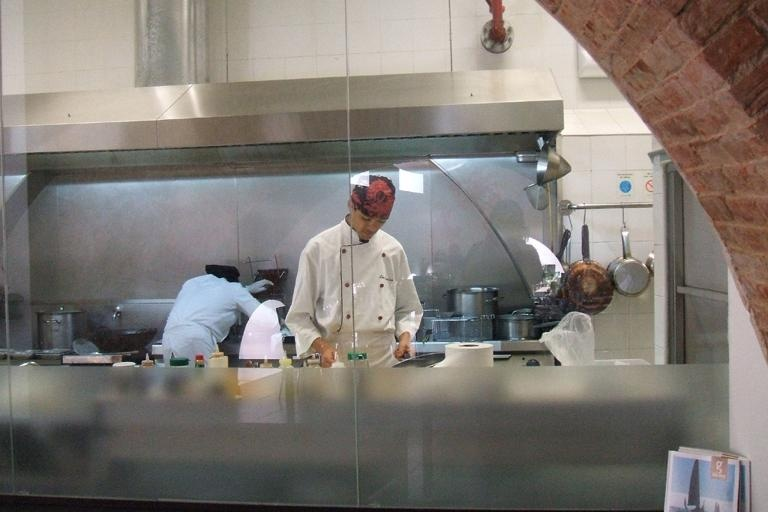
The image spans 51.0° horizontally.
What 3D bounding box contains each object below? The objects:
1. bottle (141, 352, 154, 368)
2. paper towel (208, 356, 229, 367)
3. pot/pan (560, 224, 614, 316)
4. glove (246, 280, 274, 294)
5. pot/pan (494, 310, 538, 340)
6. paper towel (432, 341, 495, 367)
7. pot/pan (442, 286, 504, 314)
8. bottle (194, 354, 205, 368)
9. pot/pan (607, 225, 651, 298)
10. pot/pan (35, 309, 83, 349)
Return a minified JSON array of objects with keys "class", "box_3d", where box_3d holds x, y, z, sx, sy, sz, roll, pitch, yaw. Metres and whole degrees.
[{"class":"bottle","box_3d":[-1.024,0.446,3.472,0.065,0.071,0.011,1,15,1]},{"class":"paper towel","box_3d":[-0.719,0.458,3.471,0.090,0.081,0.048,0,-3,0]},{"class":"pot/pan","box_3d":[0.834,0.059,3.326,0.222,0.358,0.050,-2,2,4]},{"class":"glove","box_3d":[-0.530,0.129,3.427,0.112,0.060,0.018,0,-3,-4]},{"class":"pot/pan","box_3d":[0.547,0.294,3.352,0.139,0.083,0.138,0,-5,2]},{"class":"paper towel","box_3d":[0.354,0.401,3.392,0.136,0.082,0.134,0,1,-23]},{"class":"pot/pan","box_3d":[0.378,0.167,3.363,0.140,0.096,0.141,0,0,22]},{"class":"bottle","box_3d":[-0.796,0.456,3.474,0.054,0.076,0.053,1,-4,0]},{"class":"pot/pan","box_3d":[1.017,0.022,3.335,0.175,0.281,0.040,-2,1,-2]},{"class":"pot/pan","box_3d":[-1.409,0.322,3.495,0.255,0.175,0.060,-1,-3,20]}]
